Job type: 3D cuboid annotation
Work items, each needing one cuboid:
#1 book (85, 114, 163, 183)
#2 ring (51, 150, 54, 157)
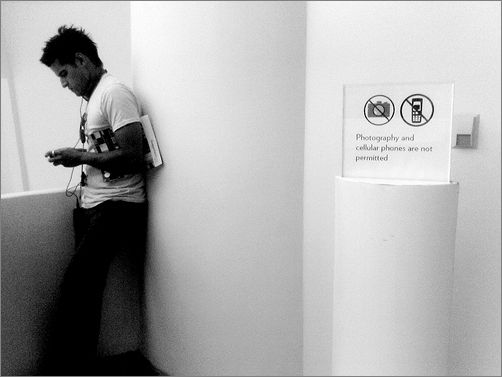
[{"bbox_3d":[-0.581,-0.182,1.934,0.416,0.300,0.091,2,7,17],"label":"book"},{"bbox_3d":[-0.894,-0.161,1.950,0.016,0.023,0.007,2,1,10],"label":"ring"}]
